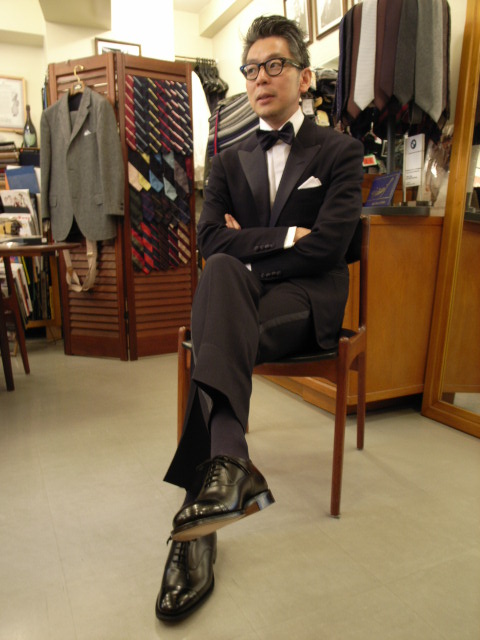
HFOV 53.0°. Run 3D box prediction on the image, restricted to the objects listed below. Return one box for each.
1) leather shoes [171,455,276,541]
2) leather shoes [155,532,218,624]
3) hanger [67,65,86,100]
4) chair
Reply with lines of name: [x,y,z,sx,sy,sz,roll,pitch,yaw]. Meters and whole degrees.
leather shoes: [-0.023,0.284,0.822,0.092,0.099,0.194,-26,-18,24]
leather shoes: [-0.095,0.482,0.909,0.055,0.083,0.181,-3,2,7]
hanger: [-0.990,-1.451,2.932,0.161,0.206,0.020,16,12,15]
chair: [0.189,0.100,1.383,0.700,0.750,0.426,-7,9,-40]
